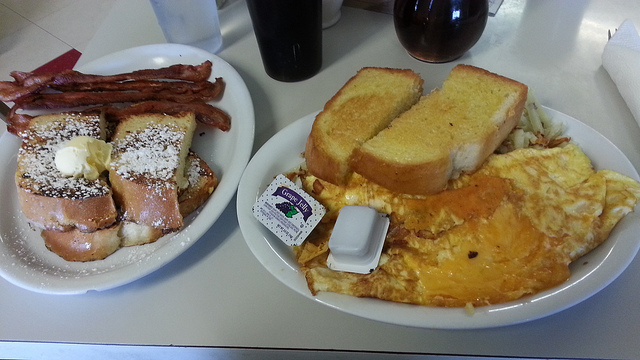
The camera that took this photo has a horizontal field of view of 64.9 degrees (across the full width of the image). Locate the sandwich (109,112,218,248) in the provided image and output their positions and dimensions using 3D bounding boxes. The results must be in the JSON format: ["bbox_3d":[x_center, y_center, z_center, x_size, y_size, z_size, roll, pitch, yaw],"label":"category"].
[{"bbox_3d":[-0.712,-0.030,2.174,0.535,0.204,0.781,-10,27,-20],"label":"sandwich"}]

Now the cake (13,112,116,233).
[{"bbox_3d":[-1.029,-0.064,2.098,0.432,0.136,0.576,-12,54,-18],"label":"cake"}]

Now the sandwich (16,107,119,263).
[{"bbox_3d":[-1.054,-0.048,2.121,0.395,0.161,0.716,-8,41,-21],"label":"sandwich"}]
